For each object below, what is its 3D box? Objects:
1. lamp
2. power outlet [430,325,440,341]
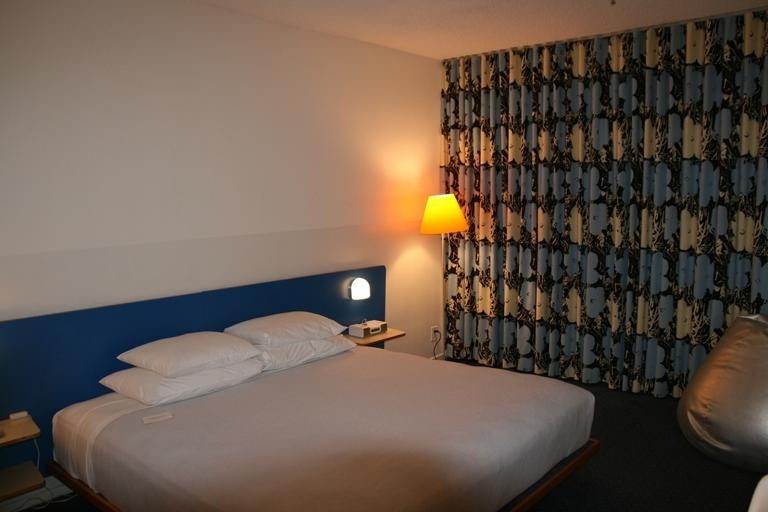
[{"bbox_3d":[0.572,0.229,5.577,0.439,1.705,0.588,2,15,6],"label":"lamp"},{"bbox_3d":[0.511,0.791,5.767,0.081,0.156,0.159,6,7,33],"label":"power outlet"}]
